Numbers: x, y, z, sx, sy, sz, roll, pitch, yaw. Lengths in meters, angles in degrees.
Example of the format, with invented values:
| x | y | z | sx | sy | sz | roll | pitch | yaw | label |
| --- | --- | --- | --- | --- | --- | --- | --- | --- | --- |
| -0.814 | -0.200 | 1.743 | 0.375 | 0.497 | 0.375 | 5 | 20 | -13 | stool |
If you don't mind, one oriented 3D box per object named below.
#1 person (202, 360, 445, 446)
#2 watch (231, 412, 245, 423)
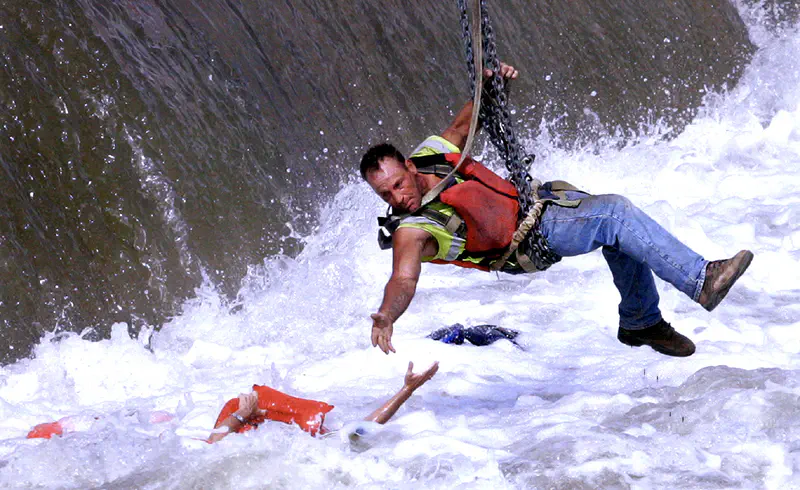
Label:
| x | y | z | sx | sy | sz | roll | pitch | yaw | label |
| --- | --- | --- | --- | --- | --- | --- | --- | --- | --- |
| -0.795 | 1.558 | 10.797 | 1.652 | 0.599 | 0.869 | -2 | -13 | 2 | person |
| -1.488 | 1.585 | 10.622 | 0.083 | 0.077 | 0.049 | 29 | 67 | 35 | watch |
